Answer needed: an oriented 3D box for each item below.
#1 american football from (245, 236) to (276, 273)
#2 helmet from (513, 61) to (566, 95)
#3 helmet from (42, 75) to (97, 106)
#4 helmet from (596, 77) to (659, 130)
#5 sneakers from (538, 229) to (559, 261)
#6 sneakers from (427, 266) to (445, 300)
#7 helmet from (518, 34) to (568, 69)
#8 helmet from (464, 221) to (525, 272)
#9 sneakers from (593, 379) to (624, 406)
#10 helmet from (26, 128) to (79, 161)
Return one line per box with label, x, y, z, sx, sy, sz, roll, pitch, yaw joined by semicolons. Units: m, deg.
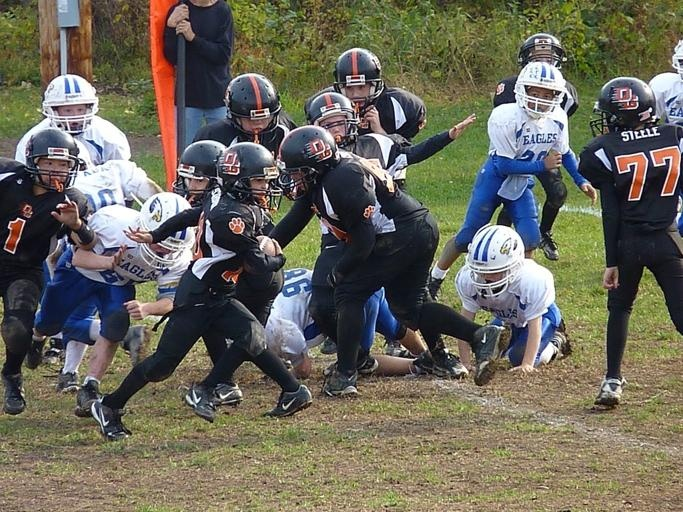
american football;-0.549;0.000;7.287;0.145;0.232;0.190;-6;21;-24
helmet;1.624;-1.471;8.786;0.397;0.249;0.247;3;5;7
helmet;-2.107;-1.260;8.295;0.276;0.263;0.325;-3;0;-18
helmet;1.958;-1.054;7.410;0.433;0.327;0.311;5;15;17
sneakers;2.018;-0.140;10.504;0.120;0.344;0.157;-17;-28;-9
sneakers;0.789;0.224;9.414;0.118;0.330;0.241;-2;5;-21
helmet;1.808;-1.897;9.867;0.348;0.304;0.380;2;-8;1
helmet;1.097;-0.072;7.834;0.312;0.285;0.389;14;50;43
sneakers;1.823;0.928;7.310;0.118;0.124;0.267;3;6;5
helmet;-1.973;-0.750;7.332;0.235;0.222;0.298;1;-1;-34
